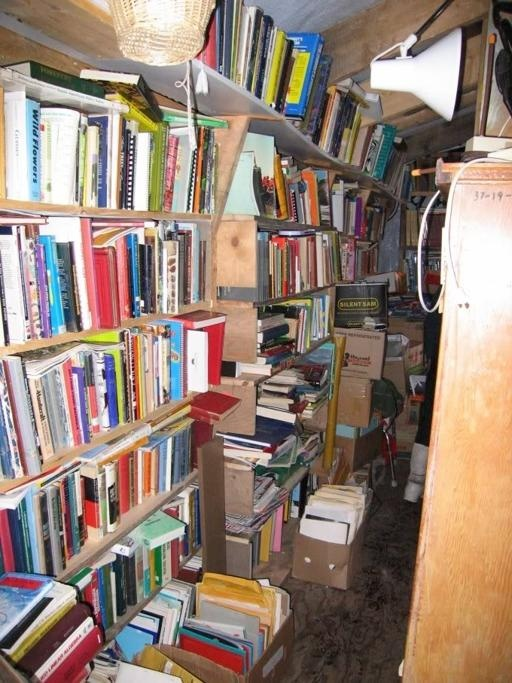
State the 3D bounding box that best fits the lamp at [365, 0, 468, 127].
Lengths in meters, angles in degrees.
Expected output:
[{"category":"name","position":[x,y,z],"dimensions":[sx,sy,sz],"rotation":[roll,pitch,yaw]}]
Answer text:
[{"category":"lamp","position":[0.350,-0.635,1.178],"dimensions":[0.180,0.281,0.245],"rotation":[2,11,11]}]
